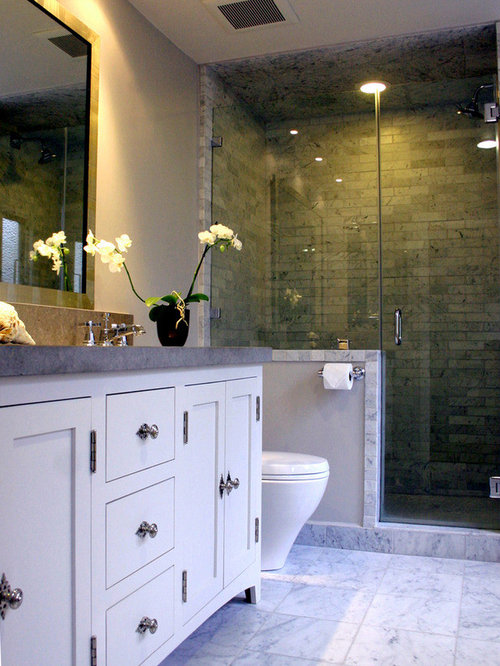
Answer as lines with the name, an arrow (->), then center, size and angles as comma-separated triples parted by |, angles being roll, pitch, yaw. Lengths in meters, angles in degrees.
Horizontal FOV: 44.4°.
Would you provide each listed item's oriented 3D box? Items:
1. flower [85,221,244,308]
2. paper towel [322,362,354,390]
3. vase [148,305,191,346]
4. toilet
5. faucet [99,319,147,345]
flower -> -0.305, -0.219, 2.281 | 0.537, 0.266, 0.436 | -6, -8, 1
paper towel -> 0.399, 0.203, 2.832 | 0.147, 0.131, 0.149 | -1, -5, 12
vase -> -0.252, -0.032, 2.123 | 0.168, 0.155, 0.132 | 1, -10, -34
toilet -> 0.137, 0.733, 2.561 | 0.404, 0.492, 0.434 | 1, 0, 0
faucet -> -0.431, -0.005, 2.043 | 0.076, 0.104, 0.277 | -3, 2, -32
